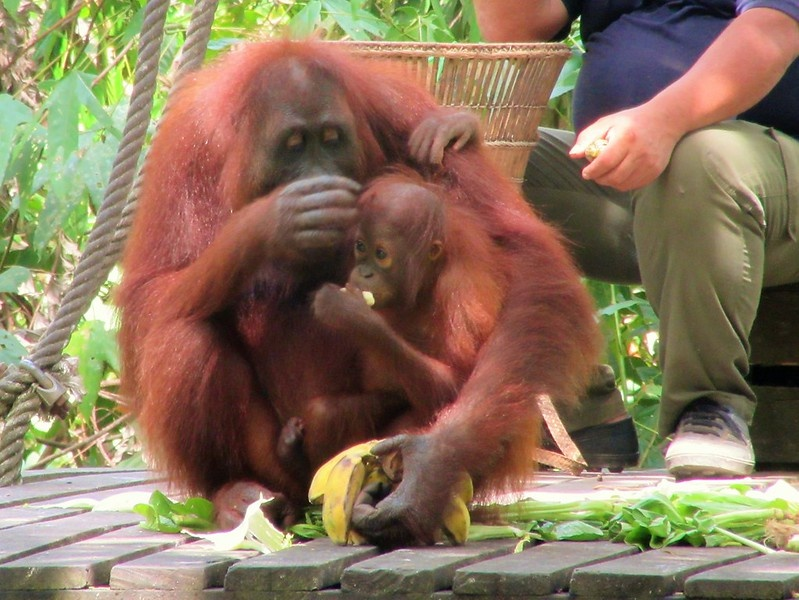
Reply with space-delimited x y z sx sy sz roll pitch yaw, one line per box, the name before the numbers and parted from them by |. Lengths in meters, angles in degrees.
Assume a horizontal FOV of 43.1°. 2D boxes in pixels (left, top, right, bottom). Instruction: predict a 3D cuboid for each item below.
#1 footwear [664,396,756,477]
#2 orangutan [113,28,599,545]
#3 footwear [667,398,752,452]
footwear | 0.752 0.336 2.454 0.197 0.170 0.207 -1 11 18
orangutan | -0.112 -0.012 2.111 0.906 0.952 0.793 11 -12 -38
footwear | 0.754 0.295 2.439 0.244 0.112 0.142 7 -10 -32
